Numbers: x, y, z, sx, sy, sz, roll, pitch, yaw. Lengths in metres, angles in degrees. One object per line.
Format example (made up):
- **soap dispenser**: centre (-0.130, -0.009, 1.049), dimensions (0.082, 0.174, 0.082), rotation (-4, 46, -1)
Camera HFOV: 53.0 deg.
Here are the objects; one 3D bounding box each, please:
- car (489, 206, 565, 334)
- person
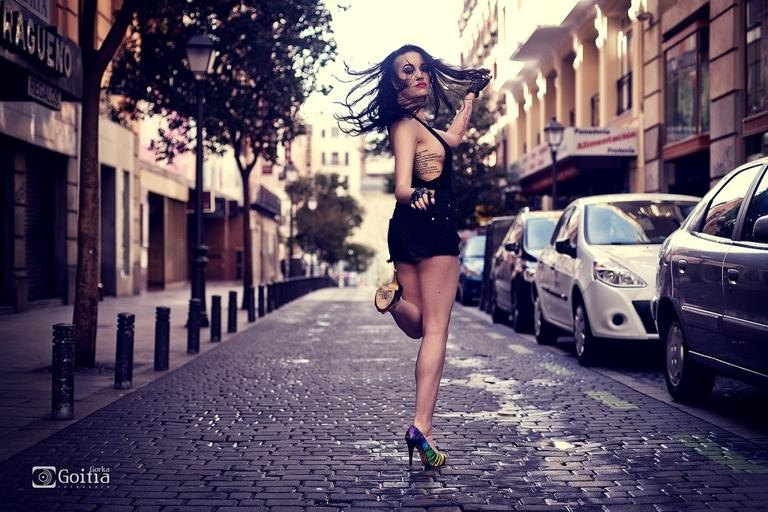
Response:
- **car**: centre (2.572, 0.235, 15.031), dimensions (1.170, 1.383, 2.454), rotation (0, -3, -6)
- **person**: centre (0.250, -0.006, 6.020), dimensions (1.033, 3.280, 0.966), rotation (-2, 2, -20)
